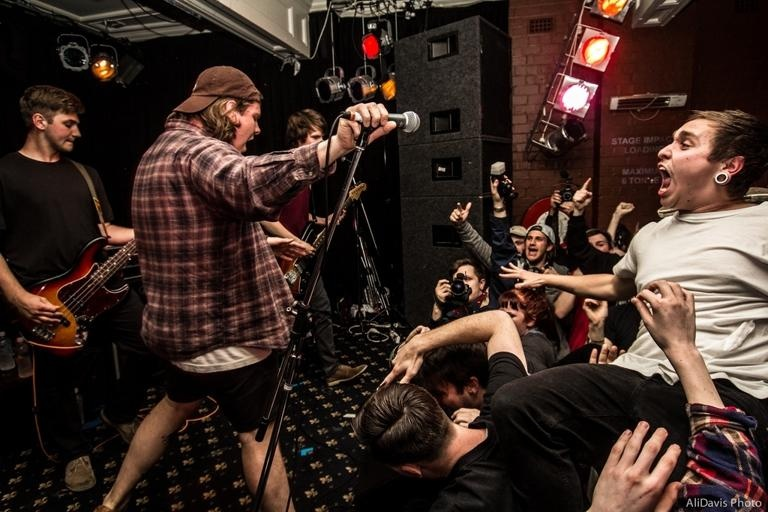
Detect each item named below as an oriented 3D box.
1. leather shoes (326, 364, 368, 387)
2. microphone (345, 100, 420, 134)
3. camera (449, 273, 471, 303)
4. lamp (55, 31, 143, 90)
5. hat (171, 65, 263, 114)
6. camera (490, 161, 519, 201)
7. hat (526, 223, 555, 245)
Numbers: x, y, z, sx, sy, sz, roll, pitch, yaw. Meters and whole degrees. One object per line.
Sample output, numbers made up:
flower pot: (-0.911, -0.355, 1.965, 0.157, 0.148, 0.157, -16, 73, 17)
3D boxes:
leather shoes: (-0.308, 0.959, 4.382, 0.383, 0.158, 0.126, -14, 8, -15)
microphone: (0.061, -0.616, 2.516, 0.135, 0.135, 0.504, 21, 15, 40)
camera: (0.592, 0.234, 3.948, 0.145, 0.204, 0.203, 2, 1, 13)
lamp: (-2.475, -1.690, 4.667, 0.357, 0.312, 0.636, 8, 7, 6)
hat: (-0.866, -0.859, 2.733, 0.424, 0.213, 0.263, -21, 24, -26)
camera: (0.969, -0.572, 4.380, 0.207, 0.292, 0.142, -20, -18, 15)
hat: (1.365, -0.213, 4.517, 0.258, 0.130, 0.166, 17, -11, -24)
